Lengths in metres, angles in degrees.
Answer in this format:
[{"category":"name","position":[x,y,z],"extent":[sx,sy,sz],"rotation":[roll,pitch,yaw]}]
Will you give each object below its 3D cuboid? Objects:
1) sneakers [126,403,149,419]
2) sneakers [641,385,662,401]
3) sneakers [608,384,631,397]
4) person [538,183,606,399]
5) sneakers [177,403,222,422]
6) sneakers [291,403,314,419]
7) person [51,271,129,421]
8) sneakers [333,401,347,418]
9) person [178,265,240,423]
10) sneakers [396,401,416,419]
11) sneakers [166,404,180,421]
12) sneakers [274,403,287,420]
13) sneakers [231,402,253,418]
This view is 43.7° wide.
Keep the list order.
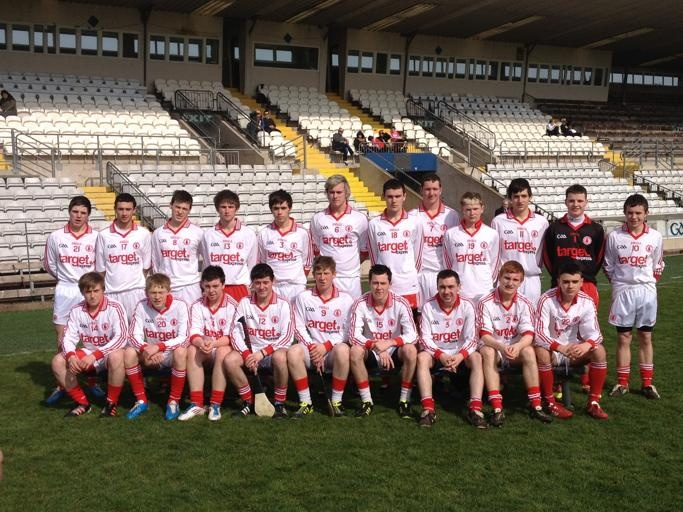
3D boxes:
[{"category":"sneakers","position":[-2.409,1.835,9.996],"extent":[0.095,0.133,0.302],"rotation":[21,20,14]},{"category":"sneakers","position":[3.784,1.679,10.355],"extent":[0.094,0.113,0.238],"rotation":[1,5,-9]},{"category":"sneakers","position":[3.434,1.655,10.430],"extent":[0.260,0.122,0.113],"rotation":[-9,-5,-26]},{"category":"person","position":[2.897,0.505,10.452],"extent":[0.683,2.792,0.635],"rotation":[0,-22,9]},{"category":"sneakers","position":[-1.655,1.864,9.961],"extent":[0.532,0.279,0.200],"rotation":[11,-25,-24]},{"category":"sneakers","position":[-0.441,1.821,10.035],"extent":[0.349,0.140,0.148],"rotation":[-7,8,-38]},{"category":"person","position":[-2.989,1.179,10.128],"extent":[0.870,1.406,0.477],"rotation":[-2,6,-1]},{"category":"sneakers","position":[-0.034,1.802,10.081],"extent":[0.165,0.164,0.269],"rotation":[-2,7,-2]},{"category":"person","position":[-1.568,1.020,10.094],"extent":[0.666,1.759,0.628],"rotation":[-2,6,-5]},{"category":"sneakers","position":[0.766,1.822,10.016],"extent":[0.112,0.117,0.253],"rotation":[0,-3,-9]},{"category":"sneakers","position":[-1.994,1.824,9.976],"extent":[0.164,0.178,0.247],"rotation":[-3,7,-12]},{"category":"sneakers","position":[-0.720,1.830,9.988],"extent":[0.167,0.142,0.159],"rotation":[-3,6,-6]},{"category":"sneakers","position":[-1.156,1.845,10.083],"extent":[0.096,0.141,0.316],"rotation":[1,-16,12]}]
